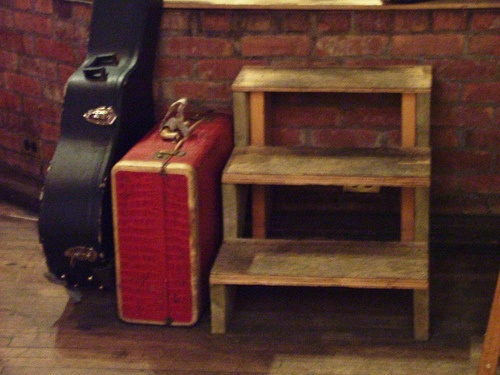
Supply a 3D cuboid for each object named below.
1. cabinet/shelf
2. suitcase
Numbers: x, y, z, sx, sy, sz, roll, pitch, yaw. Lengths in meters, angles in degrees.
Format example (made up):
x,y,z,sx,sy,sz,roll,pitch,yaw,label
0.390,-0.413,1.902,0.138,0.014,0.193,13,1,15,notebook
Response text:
x,y,z,sx,sy,sz,roll,pitch,yaw,label
0.277,-0.001,1.882,0.741,0.905,0.722,2,11,7,cabinet/shelf
-0.276,0.072,1.818,0.302,0.754,0.399,3,13,8,suitcase
